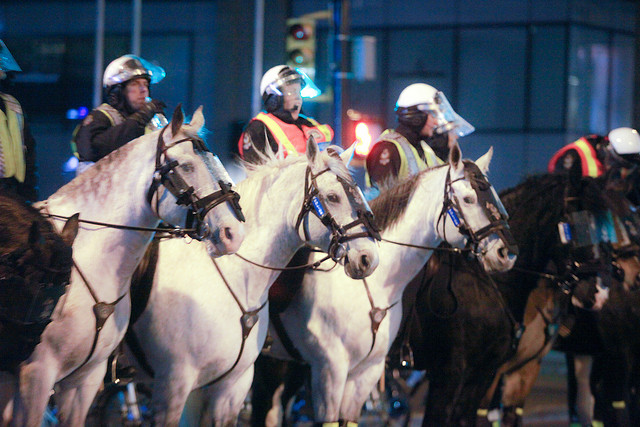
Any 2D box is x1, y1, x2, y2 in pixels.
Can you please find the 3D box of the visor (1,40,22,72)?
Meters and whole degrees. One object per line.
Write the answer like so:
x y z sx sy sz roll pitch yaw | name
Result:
-4.169 -2.082 21.222 0.167 0.501 0.137 -11 6 -3 | visor

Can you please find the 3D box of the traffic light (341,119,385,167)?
0.622 -1.150 25.918 0.208 0.755 0.846 4 4 40 | traffic light

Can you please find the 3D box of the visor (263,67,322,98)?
-0.383 -1.862 22.491 0.614 0.280 0.431 -4 -1 14 | visor
